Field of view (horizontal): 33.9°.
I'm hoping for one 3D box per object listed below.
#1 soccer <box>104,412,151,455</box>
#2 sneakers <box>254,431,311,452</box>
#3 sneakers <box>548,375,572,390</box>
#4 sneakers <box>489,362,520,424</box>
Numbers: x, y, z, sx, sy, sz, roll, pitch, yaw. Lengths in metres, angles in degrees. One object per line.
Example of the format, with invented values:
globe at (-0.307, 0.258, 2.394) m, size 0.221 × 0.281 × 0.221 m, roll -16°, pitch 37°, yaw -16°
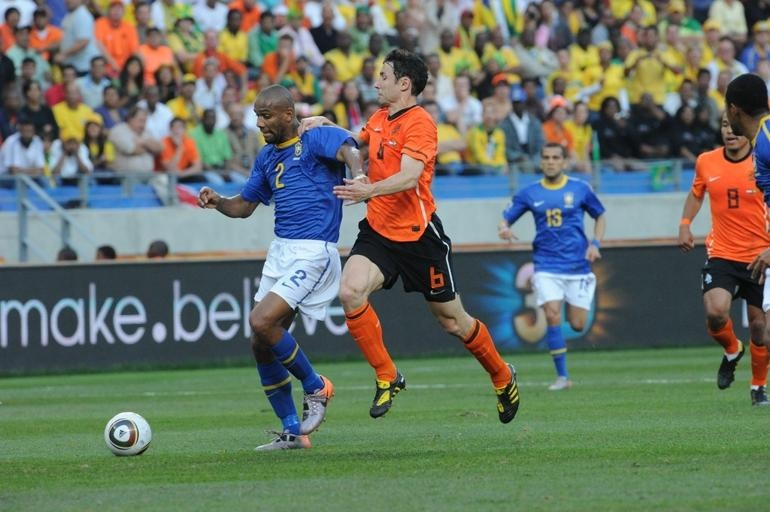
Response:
soccer at (-2.765, 1.933, 13.554) m, size 0.543 × 0.549 × 0.551 m, roll -3°, pitch -9°, yaw 21°
sneakers at (-1.106, 2.023, 13.677) m, size 0.647 × 0.279 × 0.221 m, roll 2°, pitch -6°, yaw -2°
sneakers at (2.271, 1.697, 16.607) m, size 0.365 × 0.157 × 0.121 m, roll -1°, pitch 1°, yaw -33°
sneakers at (1.335, 1.534, 14.021) m, size 0.298 × 0.699 × 0.243 m, roll 1°, pitch -2°, yaw -42°
